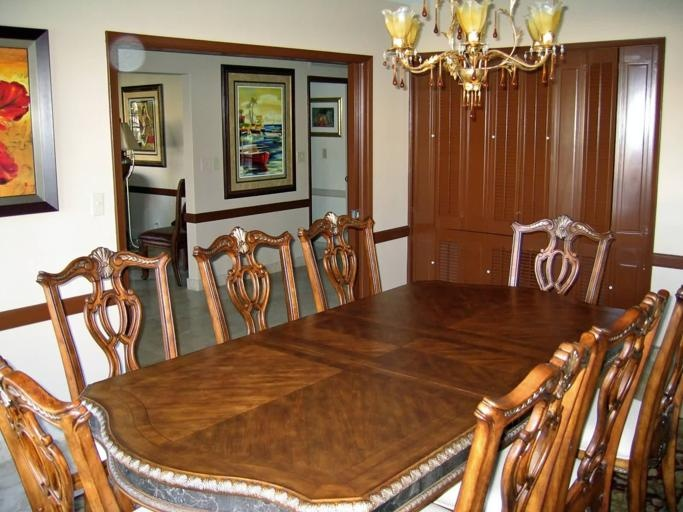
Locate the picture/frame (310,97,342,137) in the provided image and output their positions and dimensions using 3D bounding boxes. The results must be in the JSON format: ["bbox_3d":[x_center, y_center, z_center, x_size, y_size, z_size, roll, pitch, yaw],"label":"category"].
[{"bbox_3d":[-0.231,-2.203,7.947,0.797,0.886,0.062,11,16,41],"label":"picture/frame"}]
